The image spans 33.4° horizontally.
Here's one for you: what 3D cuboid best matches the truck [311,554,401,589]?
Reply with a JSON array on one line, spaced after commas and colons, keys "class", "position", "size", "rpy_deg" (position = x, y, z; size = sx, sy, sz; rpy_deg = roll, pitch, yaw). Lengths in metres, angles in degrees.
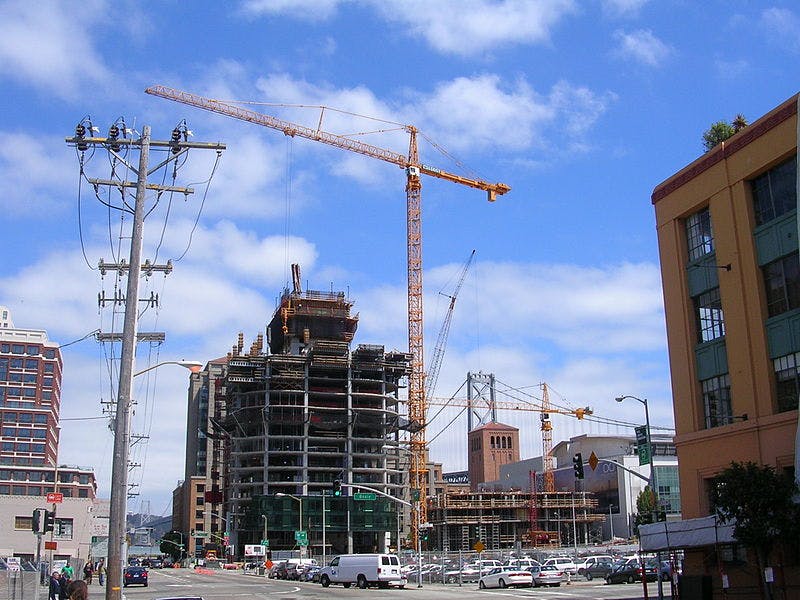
[{"class": "truck", "position": [-3.130, 22.699, 111.190], "size": [7.489, 3.174, 3.338], "rpy_deg": [-16, -23, 38]}]
